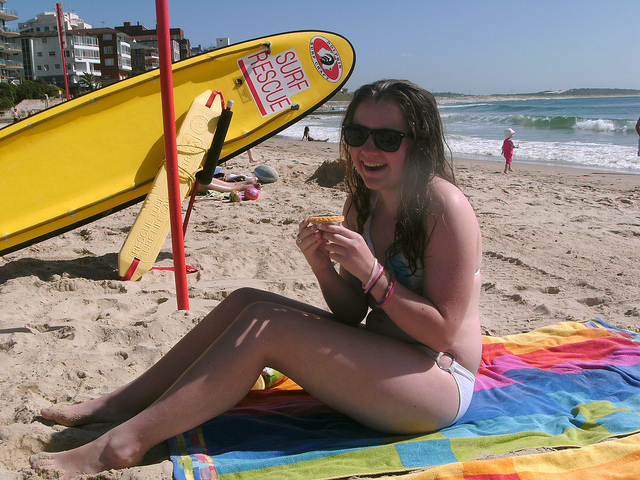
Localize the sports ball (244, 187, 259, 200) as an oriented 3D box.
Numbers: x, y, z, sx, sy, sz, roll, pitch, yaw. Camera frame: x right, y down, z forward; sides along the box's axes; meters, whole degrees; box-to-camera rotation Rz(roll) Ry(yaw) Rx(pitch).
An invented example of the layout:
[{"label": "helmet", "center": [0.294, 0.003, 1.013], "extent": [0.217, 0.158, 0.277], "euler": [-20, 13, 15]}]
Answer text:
[{"label": "sports ball", "center": [-0.946, -0.690, 7.914], "extent": [0.194, 0.175, 0.166], "euler": [0, 23, -9]}]

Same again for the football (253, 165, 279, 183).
[{"label": "football", "center": [-0.843, -1.087, 9.056], "extent": [0.370, 0.214, 0.248], "euler": [10, 6, 25]}]

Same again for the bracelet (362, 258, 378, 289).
[{"label": "bracelet", "center": [0.229, 0.148, 2.455], "extent": [0.028, 0.109, 0.118], "euler": [21, 3, 3]}]

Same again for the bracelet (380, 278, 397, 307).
[{"label": "bracelet", "center": [0.305, 0.231, 2.411], "extent": [0.024, 0.093, 0.101], "euler": [18, 8, 4]}]

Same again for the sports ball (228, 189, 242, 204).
[{"label": "sports ball", "center": [-1.182, -0.626, 7.795], "extent": [0.136, 0.110, 0.307], "euler": [3, 10, -26]}]
